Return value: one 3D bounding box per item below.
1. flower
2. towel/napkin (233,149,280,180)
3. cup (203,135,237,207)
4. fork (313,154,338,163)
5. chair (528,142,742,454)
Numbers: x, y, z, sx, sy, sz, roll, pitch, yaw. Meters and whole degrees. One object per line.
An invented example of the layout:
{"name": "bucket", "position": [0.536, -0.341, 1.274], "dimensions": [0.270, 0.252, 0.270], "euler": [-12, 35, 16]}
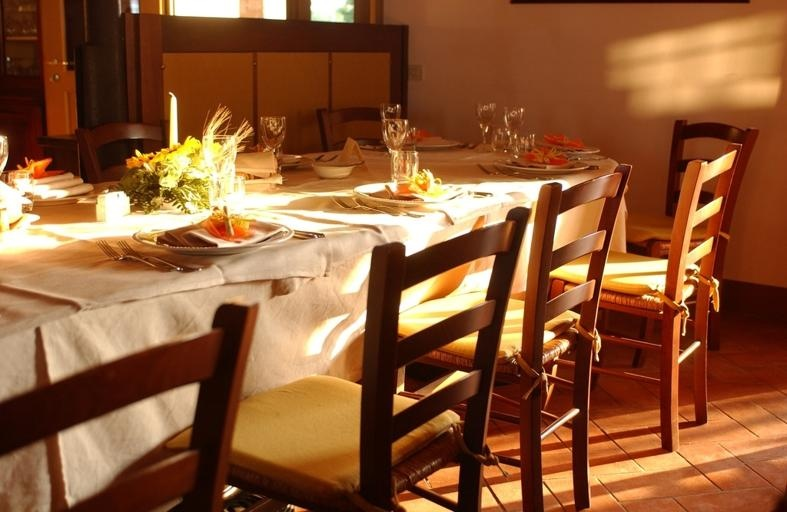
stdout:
{"name": "flower", "position": [-0.638, -0.259, 1.877], "dimensions": [0.395, 0.272, 0.354], "euler": [-9, -6, 23]}
{"name": "towel/napkin", "position": [-0.506, -0.335, 2.274], "dimensions": [0.185, 0.061, 0.183], "euler": [1, 18, -10]}
{"name": "cup", "position": [-0.523, -0.244, 1.860], "dimensions": [0.091, 0.242, 0.093], "euler": [-3, -2, 0]}
{"name": "fork", "position": [-0.313, -0.453, 2.860], "dimensions": [0.125, 0.018, 0.065], "euler": [-6, 22, -18]}
{"name": "chair", "position": [0.990, 0.157, 2.643], "dimensions": [0.665, 1.080, 0.765], "euler": [-9, 12, -32]}
